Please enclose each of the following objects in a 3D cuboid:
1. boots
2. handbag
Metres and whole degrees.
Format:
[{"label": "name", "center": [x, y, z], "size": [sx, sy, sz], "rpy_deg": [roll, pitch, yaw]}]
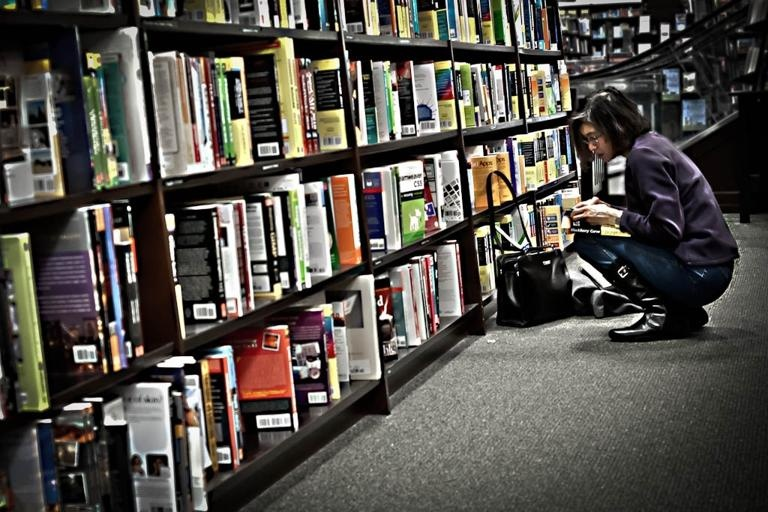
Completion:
[{"label": "boots", "center": [1.538, 0.240, 3.826], "size": [0.616, 0.648, 0.357], "rpy_deg": [-8, 10, 36]}, {"label": "handbag", "center": [0.929, 0.204, 3.992], "size": [0.473, 0.414, 0.238], "rpy_deg": [-10, 12, -6]}]
